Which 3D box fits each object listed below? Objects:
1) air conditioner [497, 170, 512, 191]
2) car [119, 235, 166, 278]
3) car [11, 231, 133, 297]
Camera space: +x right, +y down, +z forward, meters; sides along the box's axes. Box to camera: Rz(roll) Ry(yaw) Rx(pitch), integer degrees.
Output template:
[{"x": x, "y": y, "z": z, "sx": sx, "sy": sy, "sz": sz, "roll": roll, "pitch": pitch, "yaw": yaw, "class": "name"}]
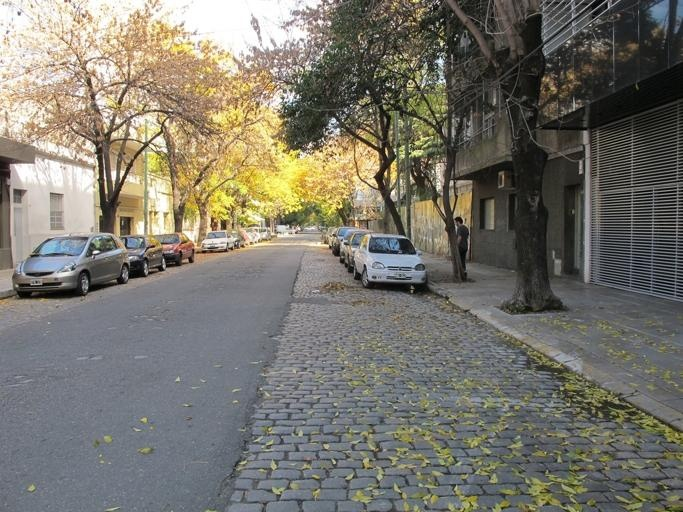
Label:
[{"x": 6.256, "y": -2.897, "z": 20.892, "sx": 0.532, "sy": 0.872, "sz": 0.850, "roll": 0, "pitch": 2, "yaw": 0, "class": "air conditioner"}, {"x": -8.053, "y": -0.015, "z": 21.789, "sx": 1.076, "sy": 0.854, "sz": 2.020, "roll": -1, "pitch": -1, "yaw": 3, "class": "car"}, {"x": -8.134, "y": 0.209, "z": 16.634, "sx": 1.931, "sy": 1.726, "sz": 3.877, "roll": 1, "pitch": 5, "yaw": 7, "class": "car"}]
